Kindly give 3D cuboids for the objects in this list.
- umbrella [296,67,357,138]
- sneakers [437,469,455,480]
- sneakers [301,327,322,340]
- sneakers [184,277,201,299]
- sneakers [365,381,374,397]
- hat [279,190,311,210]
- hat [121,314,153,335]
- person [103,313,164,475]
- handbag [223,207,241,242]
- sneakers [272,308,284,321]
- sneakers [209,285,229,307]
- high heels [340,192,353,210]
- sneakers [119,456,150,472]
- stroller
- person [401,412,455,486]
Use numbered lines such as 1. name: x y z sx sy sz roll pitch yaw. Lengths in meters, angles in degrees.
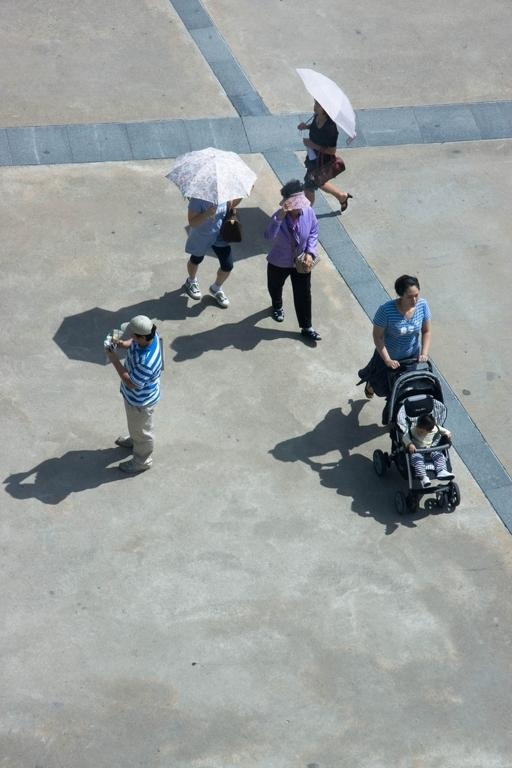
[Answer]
1. umbrella: 0.774 -3.086 10.821 0.541 0.439 0.984 1 39 -9
2. sneakers: 1.607 0.772 8.408 0.188 0.112 0.059 -6 7 7
3. sneakers: 0.580 -0.521 10.111 0.236 0.096 0.085 29 57 23
4. sneakers: -0.679 -1.038 10.370 0.112 0.118 0.264 -23 59 -25
5. sneakers: 1.085 0.053 9.439 0.062 0.037 0.150 -6 45 0
6. hat: 0.376 -1.695 9.221 0.289 0.207 0.199 0 41 -10
7. hat: -0.907 -0.471 7.691 0.286 0.145 0.154 8 73 -5
8. person: -1.047 0.069 8.208 0.463 1.700 0.364 7 42 -2
9. handbag: -0.249 -1.556 9.583 0.204 0.289 0.394 -2 41 -1
10. sneakers: 0.217 -0.727 10.306 0.088 0.094 0.131 -14 69 -9
11. sneakers: -0.402 -0.927 10.384 0.279 0.117 0.135 45 79 -2
12. high heels: 1.082 -2.196 11.815 0.123 0.265 0.099 8 26 -11
13. sneakers: -1.077 0.730 8.636 0.278 0.240 0.107 3 68 -8
14. stroller: 1.459 0.425 8.587 0.723 1.165 1.076 -7 27 -6
15. person: 1.487 0.539 8.404 0.403 0.373 0.685 -4 40 -3
